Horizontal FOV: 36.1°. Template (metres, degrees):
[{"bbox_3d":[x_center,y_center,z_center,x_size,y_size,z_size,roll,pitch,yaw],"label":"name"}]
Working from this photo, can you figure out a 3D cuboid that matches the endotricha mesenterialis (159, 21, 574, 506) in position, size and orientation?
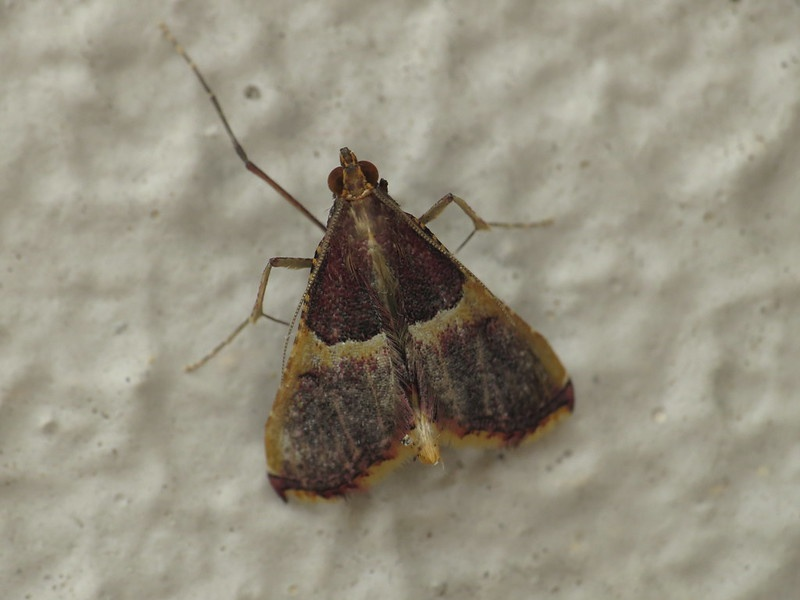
[{"bbox_3d":[-0.222,-0.185,7.635,2.099,0.629,2.874,-16,88,1],"label":"endotricha mesenterialis"}]
